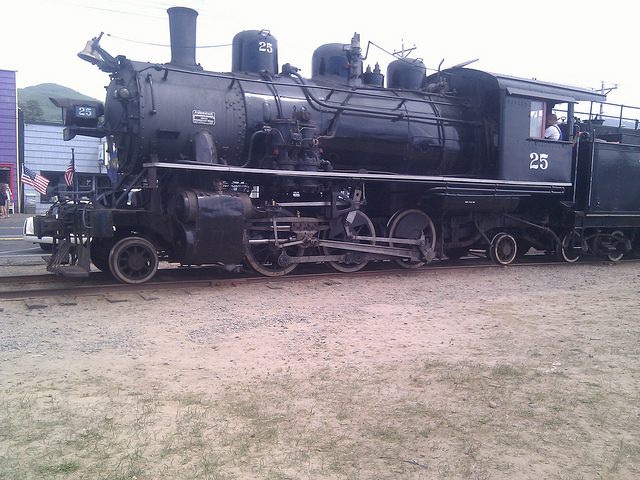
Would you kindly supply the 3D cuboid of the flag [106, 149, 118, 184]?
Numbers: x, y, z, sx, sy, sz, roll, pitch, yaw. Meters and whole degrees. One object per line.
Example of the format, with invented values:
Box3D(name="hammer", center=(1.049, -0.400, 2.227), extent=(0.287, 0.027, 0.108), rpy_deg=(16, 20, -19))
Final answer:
Box3D(name="flag", center=(-4.021, -1.413, 8.889), extent=(0.122, 0.656, 0.462), rpy_deg=(-5, 12, -33))
